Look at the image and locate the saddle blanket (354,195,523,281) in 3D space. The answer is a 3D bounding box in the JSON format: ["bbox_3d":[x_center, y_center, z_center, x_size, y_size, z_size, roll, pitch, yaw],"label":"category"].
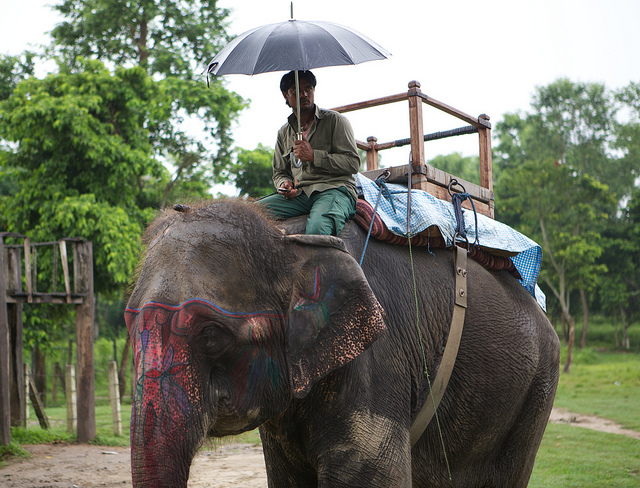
[{"bbox_3d":[1.966,-0.203,22.476,3.169,0.847,2.295,6,18,-43],"label":"saddle blanket"}]
